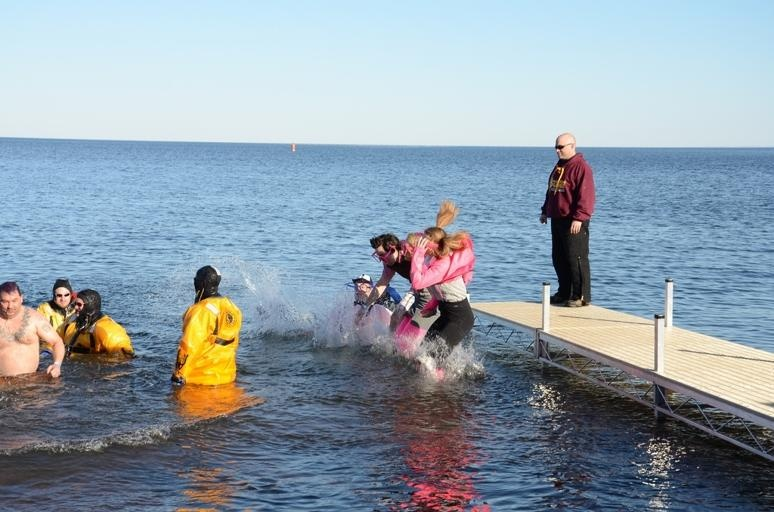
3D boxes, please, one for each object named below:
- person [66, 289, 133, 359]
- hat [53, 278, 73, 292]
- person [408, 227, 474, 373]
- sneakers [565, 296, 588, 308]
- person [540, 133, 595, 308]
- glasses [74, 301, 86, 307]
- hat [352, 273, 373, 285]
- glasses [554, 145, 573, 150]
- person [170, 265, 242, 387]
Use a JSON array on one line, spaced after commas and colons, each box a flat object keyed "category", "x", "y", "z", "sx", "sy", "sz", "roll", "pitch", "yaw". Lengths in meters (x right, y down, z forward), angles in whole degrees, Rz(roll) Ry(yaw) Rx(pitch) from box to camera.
[{"category": "person", "x": -6.139, "y": 1.507, "z": 21.379, "sx": 1.671, "sy": 1.086, "sz": 0.692, "roll": 1, "pitch": 2, "yaw": 30}, {"category": "hat", "x": -7.271, "y": 0.665, "z": 22.518, "sx": 0.295, "sy": 0.288, "sz": 0.340, "roll": 1, "pitch": -37, "yaw": -23}, {"category": "person", "x": 1.099, "y": 0.954, "z": 19.788, "sx": 1.241, "sy": 3.048, "sz": 0.793, "roll": -2, "pitch": 9, "yaw": -6}, {"category": "sneakers", "x": 4.229, "y": 1.043, "z": 22.285, "sx": 0.453, "sy": 0.145, "sz": 0.204, "roll": 4, "pitch": -5, "yaw": -33}, {"category": "person", "x": 3.985, "y": -0.771, "z": 22.127, "sx": 1.038, "sy": 3.834, "sz": 1.335, "roll": -1, "pitch": 9, "yaw": -1}, {"category": "glasses", "x": -6.262, "y": 0.982, "z": 20.459, "sx": 0.154, "sy": 0.103, "sz": 0.152, "roll": 3, "pitch": 12, "yaw": -10}, {"category": "hat", "x": -0.537, "y": 0.507, "z": 22.412, "sx": 0.435, "sy": 0.173, "sz": 0.246, "roll": 7, "pitch": -5, "yaw": -4}, {"category": "glasses", "x": 3.839, "y": -2.397, "z": 22.069, "sx": 0.411, "sy": 0.120, "sz": 0.188, "roll": 6, "pitch": 11, "yaw": 44}, {"category": "person", "x": -3.391, "y": 1.363, "z": 18.954, "sx": 1.252, "sy": 2.341, "sz": 0.572, "roll": -4, "pitch": 10, "yaw": -17}]
